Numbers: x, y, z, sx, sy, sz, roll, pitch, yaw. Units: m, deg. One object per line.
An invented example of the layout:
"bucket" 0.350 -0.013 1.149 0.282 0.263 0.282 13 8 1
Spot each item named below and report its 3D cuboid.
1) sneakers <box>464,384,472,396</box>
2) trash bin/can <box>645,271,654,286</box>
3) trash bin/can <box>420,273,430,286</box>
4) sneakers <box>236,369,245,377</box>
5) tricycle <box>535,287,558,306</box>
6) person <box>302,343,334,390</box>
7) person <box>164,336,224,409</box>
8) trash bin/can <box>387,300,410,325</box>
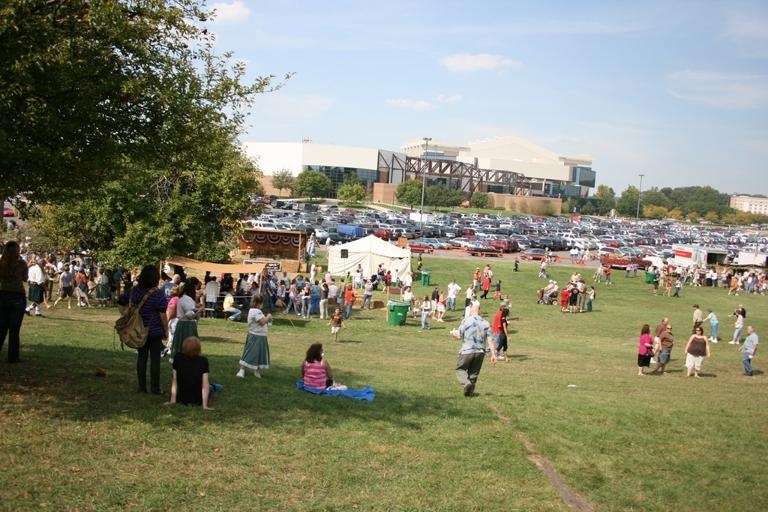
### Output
"sneakers" 2.031 3.254 17.871 0.257 0.287 0.300 0 -3 1
"trash bin/can" 18.914 1.641 53.361 0.756 0.940 0.762 -1 -3 44
"trash bin/can" 2.530 1.456 45.743 0.770 0.837 0.705 0 -7 5
"sneakers" -3.377 2.779 17.404 0.140 0.209 0.213 5 -13 -27
"tricycle" 9.065 2.318 41.648 1.020 0.993 0.862 7 -5 -18
"person" -1.460 2.620 17.653 0.744 1.014 1.025 2 4 11
"person" -4.063 2.393 15.704 1.005 1.408 1.382 3 7 -6
"trash bin/can" 0.558 2.553 32.816 1.023 0.958 1.009 -3 -4 24
